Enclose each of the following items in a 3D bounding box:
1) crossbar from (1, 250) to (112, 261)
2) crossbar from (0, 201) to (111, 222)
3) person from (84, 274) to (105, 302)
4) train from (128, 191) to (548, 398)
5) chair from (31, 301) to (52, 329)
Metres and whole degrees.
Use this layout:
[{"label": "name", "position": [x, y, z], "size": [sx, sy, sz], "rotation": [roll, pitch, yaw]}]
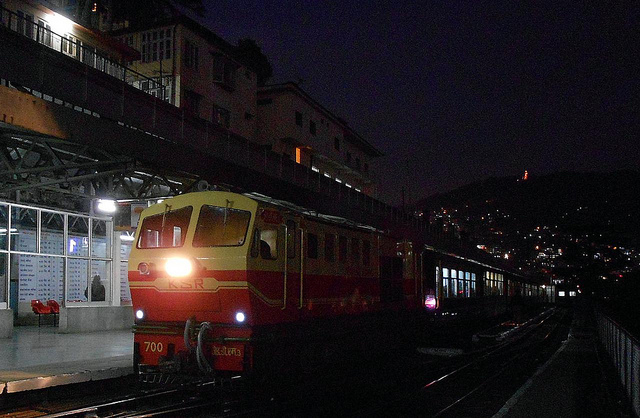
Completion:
[{"label": "crossbar", "position": [-11.150, 2.058, 22.628], "size": [0.557, 0.515, 4.748], "rotation": [3, -2, 32]}, {"label": "crossbar", "position": [-11.368, 0.113, 22.285], "size": [0.077, 0.096, 5.477], "rotation": [-1, -10, 32]}, {"label": "person", "position": [-10.128, 3.652, 24.051], "size": [0.154, 1.339, 0.674], "rotation": [3, -1, 32]}, {"label": "train", "position": [1.047, 2.453, 17.908], "size": [3.720, 5.412, 14.491], "rotation": [2, -2, 45]}, {"label": "chair", "position": [-12.473, 4.550, 23.455], "size": [0.590, 0.939, 0.650], "rotation": [-7, -11, 31]}]
